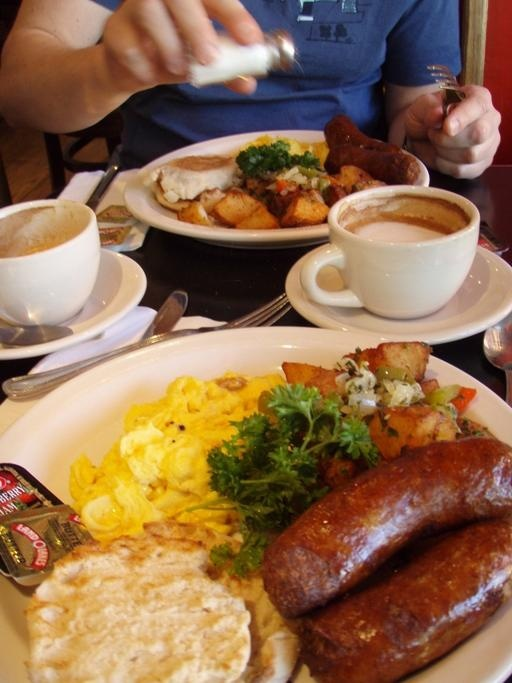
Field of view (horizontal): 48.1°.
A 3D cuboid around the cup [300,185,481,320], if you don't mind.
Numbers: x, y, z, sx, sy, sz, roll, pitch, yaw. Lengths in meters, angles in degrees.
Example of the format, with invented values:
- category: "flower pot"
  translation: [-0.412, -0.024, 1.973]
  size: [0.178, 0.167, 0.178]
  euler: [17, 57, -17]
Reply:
- category: "cup"
  translation: [0.333, -0.204, 1.498]
  size: [0.485, 0.258, 0.369]
  euler: [-20, 37, -21]

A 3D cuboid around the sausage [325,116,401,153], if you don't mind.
- category: "sausage"
  translation: [0.383, -0.820, 2.318]
  size: [0.119, 0.122, 0.408]
  euler: [21, 11, -36]

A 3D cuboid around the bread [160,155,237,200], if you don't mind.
- category: "bread"
  translation: [-0.213, -0.637, 2.204]
  size: [0.266, 0.084, 0.194]
  euler: [-23, 38, -31]

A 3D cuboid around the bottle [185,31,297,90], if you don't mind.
- category: "bottle"
  translation: [-0.035, -0.663, 1.352]
  size: [0.233, 0.082, 0.121]
  euler: [-7, 43, 2]
